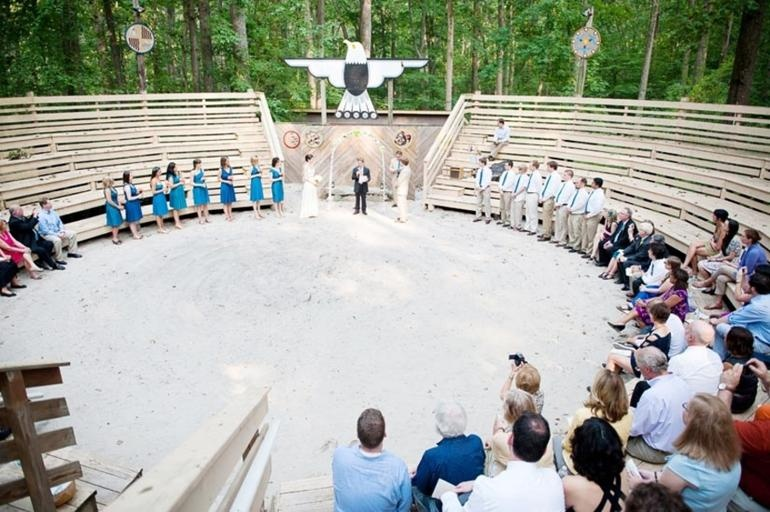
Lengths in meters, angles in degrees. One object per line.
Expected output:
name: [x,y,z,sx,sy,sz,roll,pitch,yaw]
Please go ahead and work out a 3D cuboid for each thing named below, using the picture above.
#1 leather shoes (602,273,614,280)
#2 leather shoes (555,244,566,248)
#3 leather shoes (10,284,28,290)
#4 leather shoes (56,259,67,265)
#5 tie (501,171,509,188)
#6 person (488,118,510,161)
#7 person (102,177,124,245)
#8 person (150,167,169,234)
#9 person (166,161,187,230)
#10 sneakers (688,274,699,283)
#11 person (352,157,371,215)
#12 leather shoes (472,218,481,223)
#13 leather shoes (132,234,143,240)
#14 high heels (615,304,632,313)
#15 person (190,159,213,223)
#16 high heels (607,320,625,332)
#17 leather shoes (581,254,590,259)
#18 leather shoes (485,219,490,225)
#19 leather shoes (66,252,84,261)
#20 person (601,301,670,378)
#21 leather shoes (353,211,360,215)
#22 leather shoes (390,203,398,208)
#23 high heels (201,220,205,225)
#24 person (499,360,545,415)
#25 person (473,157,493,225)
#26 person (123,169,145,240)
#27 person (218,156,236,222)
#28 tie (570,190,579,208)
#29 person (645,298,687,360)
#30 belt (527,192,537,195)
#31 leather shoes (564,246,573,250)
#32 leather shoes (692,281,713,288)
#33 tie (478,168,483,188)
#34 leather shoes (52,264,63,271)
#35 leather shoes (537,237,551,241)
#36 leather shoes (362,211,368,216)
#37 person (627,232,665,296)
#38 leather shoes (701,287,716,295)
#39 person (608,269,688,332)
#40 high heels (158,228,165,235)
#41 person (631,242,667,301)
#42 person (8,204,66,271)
leather shoes: [5.846,0.506,13.565,0.242,0.086,0.173,-1,14,11]
leather shoes: [5.367,-0.319,15.845,0.288,0.113,0.097,1,12,3]
leather shoes: [-9.144,0.752,12.903,0.312,0.123,0.102,-3,19,-17]
leather shoes: [-8.854,0.146,14.131,0.242,0.095,0.091,7,22,-21]
tie: [3.963,-2.544,17.322,0.155,0.584,0.241,-4,20,-15]
person: [4.508,-4.595,20.263,0.730,1.534,1.286,5,19,11]
person: [-8.251,-1.432,15.673,0.504,1.940,1.162,-8,21,-26]
person: [-7.308,-1.901,16.703,0.479,2.056,1.237,-6,21,-22]
person: [-6.862,-2.034,17.021,0.499,2.101,1.140,-5,20,-19]
sneakers: [7.311,0.536,12.276,0.195,0.113,0.193,2,37,35]
person: [-0.898,-2.526,18.695,0.572,1.957,0.605,0,19,-4]
leather shoes: [3.223,-1.265,18.273,0.277,0.109,0.109,-5,19,-14]
leather shoes: [-7.708,-0.602,16.014,0.324,0.225,0.107,-2,33,-8]
high heels: [5.504,1.184,11.940,0.413,0.171,0.132,6,7,-41]
person: [-6.309,-2.249,17.559,0.509,2.128,0.980,-6,20,-21]
high heels: [4.927,1.471,11.061,0.204,0.167,0.510,-6,-1,3]
leather shoes: [5.814,0.007,14.997,0.263,0.108,0.095,-4,9,14]
leather shoes: [3.567,-1.189,18.069,0.155,0.176,0.454,1,10,20]
leather shoes: [-8.791,0.001,14.645,0.362,0.158,0.171,-4,18,-12]
person: [4.356,1.582,9.058,1.022,1.674,0.559,17,22,40]
leather shoes: [-1.065,-1.596,18.828,0.205,0.144,0.090,4,36,1]
leather shoes: [0.347,-1.966,20.071,0.115,0.207,0.218,4,5,38]
high heels: [-6.234,-1.163,17.656,0.101,0.070,0.257,-6,23,-21]
person: [1.932,1.854,7.336,0.632,0.379,1.074,-2,-2,28]
person: [3.477,-2.342,18.116,0.686,2.207,0.959,5,19,10]
person: [-7.759,-1.616,15.874,0.531,2.083,1.170,-8,21,-26]
person: [-5.501,-2.401,17.947,0.513,2.140,1.119,-4,20,-17]
tie: [5.545,-1.687,15.232,0.157,0.552,0.223,-14,24,-38]
person: [4.720,1.213,8.668,0.580,1.017,0.778,-5,8,-1]
belt: [4.710,-2.038,16.615,0.302,0.102,0.072,3,19,5]
leather shoes: [5.506,-0.254,15.599,0.205,0.084,0.074,2,10,2]
leather shoes: [7.196,0.626,11.717,0.462,0.173,0.160,1,-1,-27]
tie: [3.271,-2.677,17.802,0.213,0.618,0.099,10,21,24]
leather shoes: [-8.807,0.304,13.924,0.265,0.104,0.119,0,36,4]
leather shoes: [5.033,-0.544,16.410,0.445,0.168,0.152,0,7,-21]
leather shoes: [-0.737,-1.561,18.808,0.111,0.086,0.193,-9,18,-33]
person: [5.990,0.211,11.858,0.870,1.513,0.664,12,42,28]
leather shoes: [7.265,0.785,11.650,0.115,0.096,0.285,31,-17,-31]
person: [5.132,0.878,10.301,1.620,1.327,0.616,-3,20,21]
high heels: [-7.185,-0.811,16.503,0.257,0.188,0.104,12,23,39]
person: [5.822,0.435,11.518,0.823,1.417,0.623,-1,19,13]
person: [-9.186,-0.434,13.583,1.076,1.785,0.748,-17,42,-25]
